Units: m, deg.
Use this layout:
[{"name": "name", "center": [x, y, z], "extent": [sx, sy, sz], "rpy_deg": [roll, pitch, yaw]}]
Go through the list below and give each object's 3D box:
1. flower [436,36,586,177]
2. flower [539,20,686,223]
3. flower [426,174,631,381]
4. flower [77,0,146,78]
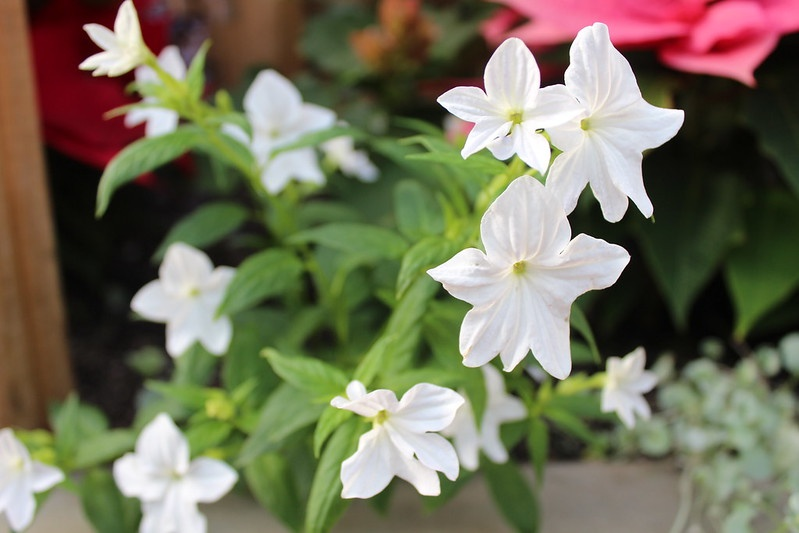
[{"name": "flower", "center": [0.104, -0.154, 0.710], "extent": [0.126, 0.097, 0.070], "rpy_deg": [7, 29, 12]}, {"name": "flower", "center": [0.190, -0.122, 0.733], "extent": [0.176, 0.172, 0.056], "rpy_deg": [-39, 22, -27]}, {"name": "flower", "center": [0.127, -0.018, 0.706], "extent": [0.170, 0.202, 0.057], "rpy_deg": [12, 7, -8]}, {"name": "flower", "center": [-0.310, -0.238, 0.797], "extent": [0.069, 0.084, 0.072], "rpy_deg": [-21, 35, -33]}]
